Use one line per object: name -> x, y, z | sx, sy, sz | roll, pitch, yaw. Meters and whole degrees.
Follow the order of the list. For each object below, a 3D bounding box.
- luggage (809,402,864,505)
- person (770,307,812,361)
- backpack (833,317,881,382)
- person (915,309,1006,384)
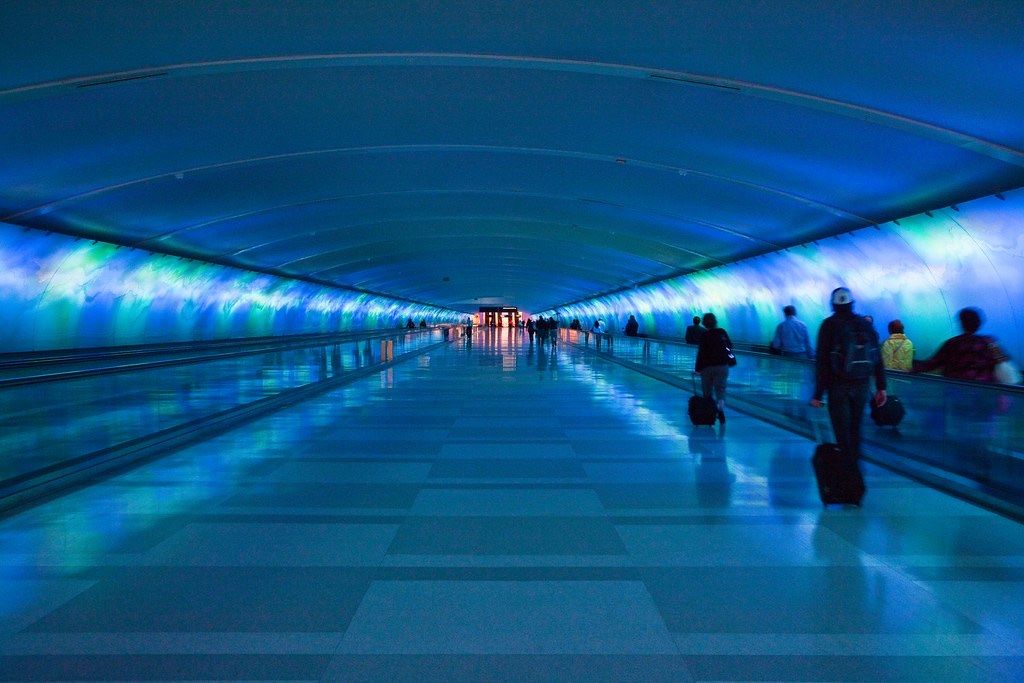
luggage -> 3.899, 1.619, 8.128 | 0.575, 0.741, 0.320 | 4, 15, 19
person -> 6.733, -0.199, 16.255 | 0.773, 1.311, 1.348 | 7, 14, 26
backpack -> 4.107, 0.079, 8.130 | 0.493, 0.751, 0.479 | 5, 14, 21
person -> 7.797, 0.050, 11.631 | 1.144, 1.171, 0.636 | 6, 15, 27
